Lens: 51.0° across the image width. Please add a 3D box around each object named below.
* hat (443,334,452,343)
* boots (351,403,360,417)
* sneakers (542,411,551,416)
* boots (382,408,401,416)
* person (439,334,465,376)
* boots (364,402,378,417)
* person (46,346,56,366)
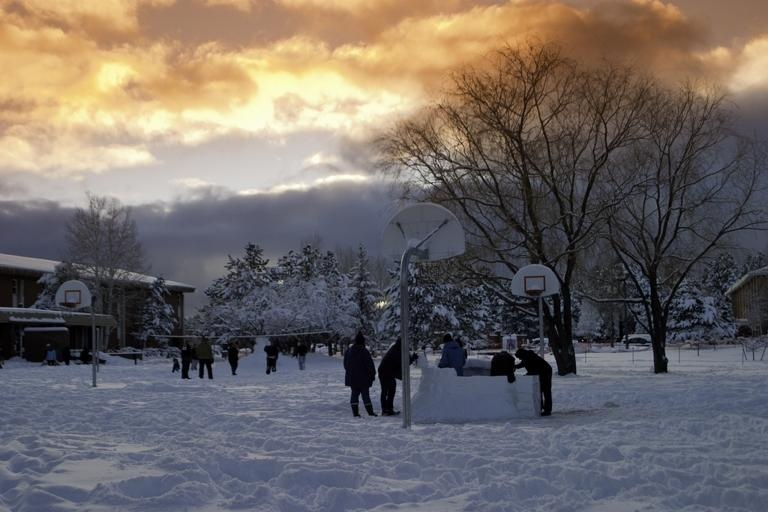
[{"bbox_3d":[1.894,2.461,24.001,0.236,0.246,0.250,-2,4,-23],"label":"hat"},{"bbox_3d":[-0.850,4.444,23.251,0.219,0.400,0.348,0,-8,-3],"label":"boots"},{"bbox_3d":[4.686,4.549,23.343,0.262,0.143,0.372,-2,-10,11],"label":"sneakers"},{"bbox_3d":[0.193,4.599,23.808,0.499,0.373,0.202,-5,-2,-2],"label":"boots"},{"bbox_3d":[1.974,2.956,24.179,0.712,1.238,1.336,-3,-9,19],"label":"person"},{"bbox_3d":[-0.423,4.487,23.543,0.360,0.384,0.554,0,-9,-5],"label":"boots"},{"bbox_3d":[-18.315,5.434,44.114,0.451,0.965,0.465,4,-9,-26],"label":"person"}]
